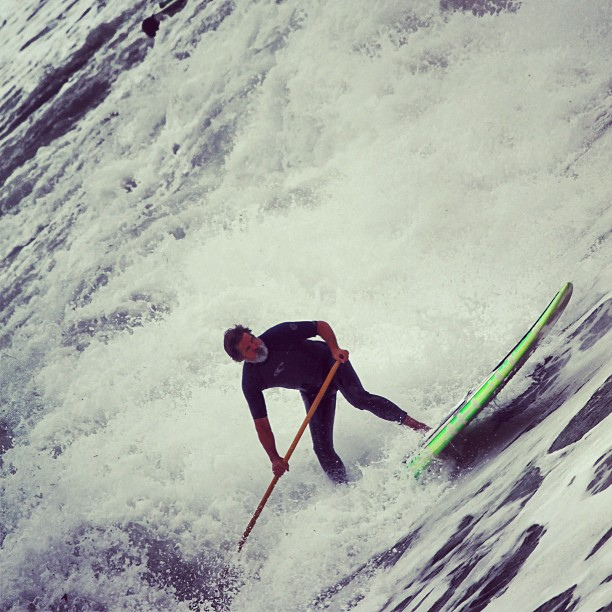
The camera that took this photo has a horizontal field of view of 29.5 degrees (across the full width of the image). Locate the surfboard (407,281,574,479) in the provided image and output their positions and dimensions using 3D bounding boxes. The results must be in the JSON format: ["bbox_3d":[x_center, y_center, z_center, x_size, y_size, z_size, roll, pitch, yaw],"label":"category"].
[{"bbox_3d":[1.715,0.762,10.934,0.234,0.447,2.186,42,81,11],"label":"surfboard"}]
